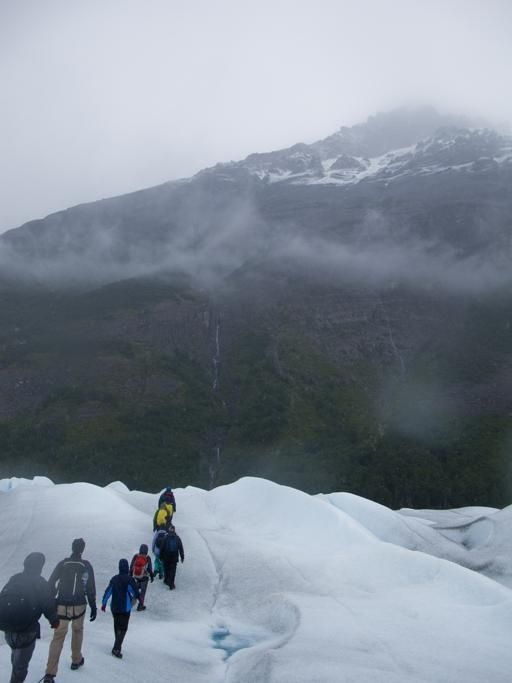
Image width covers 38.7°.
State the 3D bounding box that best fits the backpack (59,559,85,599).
[{"bbox_3d":[-3.910,5.075,15.464,0.515,0.880,0.421,7,-25,-17],"label":"backpack"}]
